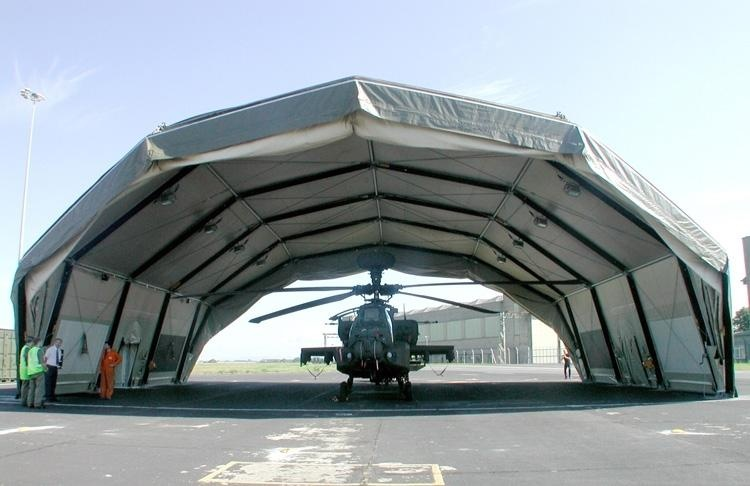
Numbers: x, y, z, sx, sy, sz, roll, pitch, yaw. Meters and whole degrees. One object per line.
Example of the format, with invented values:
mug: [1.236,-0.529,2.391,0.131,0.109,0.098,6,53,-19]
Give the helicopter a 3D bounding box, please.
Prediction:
helicopter: [0.146,2.564,17.392,7.371,3.109,7.063,-1,-18,9]

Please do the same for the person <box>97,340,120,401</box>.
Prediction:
person: [-8.910,4.183,17.422,0.520,1.856,1.384,7,-22,-25]
